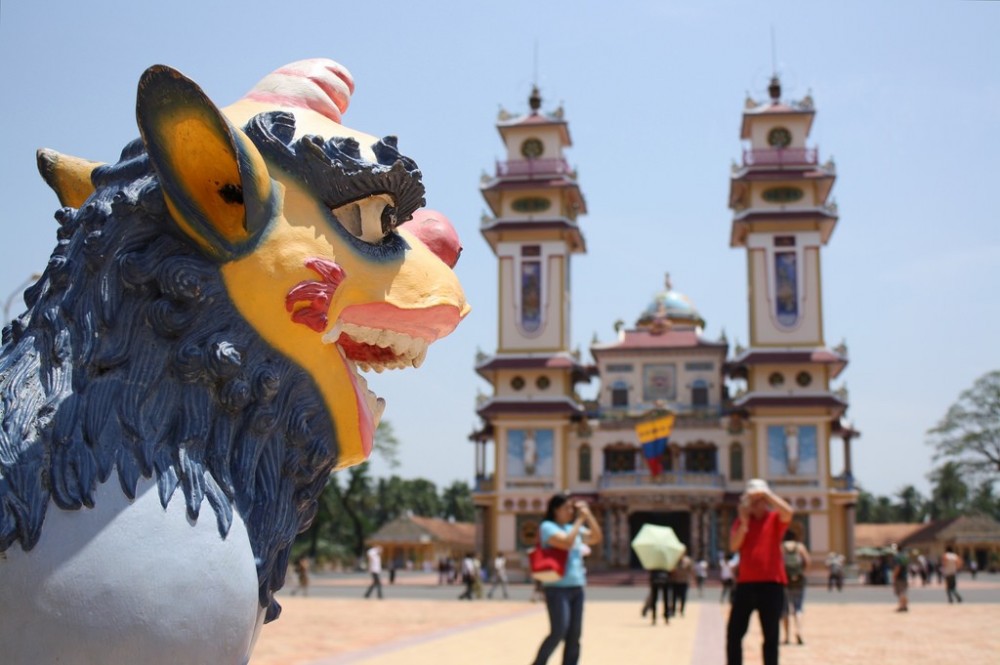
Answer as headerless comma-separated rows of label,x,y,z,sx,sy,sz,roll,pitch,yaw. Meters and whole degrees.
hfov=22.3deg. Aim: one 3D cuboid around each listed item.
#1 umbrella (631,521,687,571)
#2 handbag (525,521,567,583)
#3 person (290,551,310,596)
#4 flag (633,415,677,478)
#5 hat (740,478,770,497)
umbrella,4.273,5.812,68.535,1.271,1.291,0.872,-13,2,-5
handbag,1.083,5.302,58.135,0.964,0.917,0.316,-5,-12,29
person,-4.454,5.425,56.827,0.370,0.873,0.734,1,-10,-3
flag,5.520,4.074,89.078,1.819,2.045,0.421,-13,1,0
hat,5.963,3.578,58.557,0.511,0.392,0.483,1,-10,-3
